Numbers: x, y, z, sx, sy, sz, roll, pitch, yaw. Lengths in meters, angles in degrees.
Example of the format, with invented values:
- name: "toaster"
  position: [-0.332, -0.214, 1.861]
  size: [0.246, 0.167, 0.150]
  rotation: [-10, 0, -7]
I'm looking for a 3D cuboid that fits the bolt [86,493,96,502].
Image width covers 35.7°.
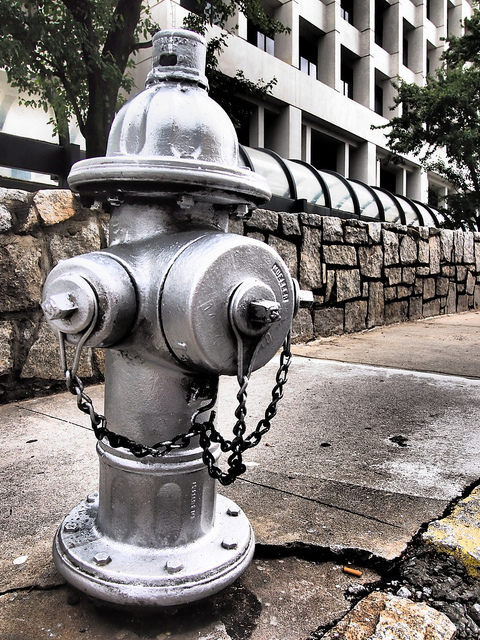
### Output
- name: "bolt"
  position: [-0.457, 0.543, 2.295]
  size: [0.019, 0.018, 0.020]
  rotation: [3, -3, 8]

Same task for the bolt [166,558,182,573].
- name: "bolt"
  position: [-0.170, 0.634, 1.946]
  size: [0.040, 0.013, 0.056]
  rotation: [3, 14, 6]

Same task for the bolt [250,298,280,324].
- name: "bolt"
  position: [0.057, -0.021, 1.714]
  size: [0.048, 0.043, 0.062]
  rotation: [0, 4, -44]

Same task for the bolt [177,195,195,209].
- name: "bolt"
  position: [-0.134, -0.306, 1.908]
  size: [0.048, 0.031, 0.025]
  rotation: [0, 13, -11]

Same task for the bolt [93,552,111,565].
- name: "bolt"
  position: [-0.357, 0.620, 1.952]
  size: [0.049, 0.014, 0.042]
  rotation: [-8, 17, -34]

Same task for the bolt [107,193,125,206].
- name: "bolt"
  position: [-0.326, -0.322, 1.980]
  size: [0.035, 0.031, 0.037]
  rotation: [-8, 14, -39]

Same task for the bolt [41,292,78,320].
- name: "bolt"
  position: [-0.419, -0.038, 1.775]
  size: [0.058, 0.068, 0.096]
  rotation: [-5, 8, 24]

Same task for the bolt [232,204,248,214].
- name: "bolt"
  position: [0.000, -0.315, 2.085]
  size: [0.037, 0.022, 0.031]
  rotation: [-15, 11, -24]
